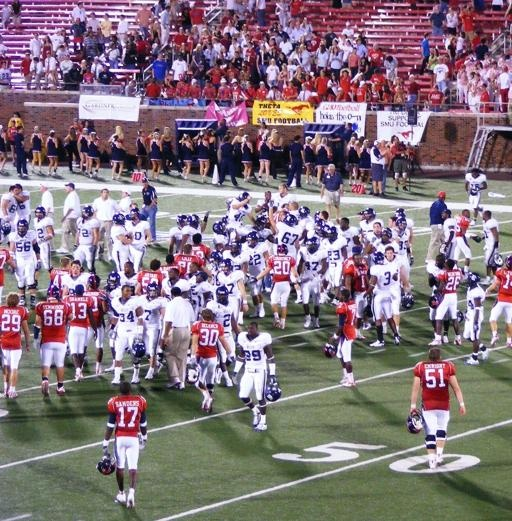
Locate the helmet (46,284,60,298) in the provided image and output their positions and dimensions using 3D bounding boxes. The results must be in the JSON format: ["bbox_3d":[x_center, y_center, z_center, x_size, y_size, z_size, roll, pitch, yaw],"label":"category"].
[{"bbox_3d":[-3.102,0.462,18.327,0.123,0.214,0.167,5,-1,-5],"label":"helmet"}]

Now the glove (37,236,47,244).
[{"bbox_3d":[-4.237,-0.393,23.726,0.226,0.152,0.229,1,13,3],"label":"glove"}]

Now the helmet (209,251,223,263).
[{"bbox_3d":[-0.671,-0.065,20.474,0.182,0.213,0.155,-19,-3,33],"label":"helmet"}]

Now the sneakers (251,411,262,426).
[{"bbox_3d":[0.016,2.246,17.074,0.072,0.251,0.092,4,2,31],"label":"sneakers"}]

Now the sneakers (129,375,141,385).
[{"bbox_3d":[-1.879,1.837,18.747,0.149,0.182,0.083,9,13,27],"label":"sneakers"}]

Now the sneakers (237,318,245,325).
[{"bbox_3d":[-0.277,1.099,21.675,0.064,0.136,0.119,0,-3,14],"label":"sneakers"}]

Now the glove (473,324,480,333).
[{"bbox_3d":[3.628,1.136,19.732,0.099,0.223,0.131,1,12,5],"label":"glove"}]

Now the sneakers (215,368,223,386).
[{"bbox_3d":[-0.581,1.850,18.905,0.089,0.324,0.132,0,34,-8],"label":"sneakers"}]

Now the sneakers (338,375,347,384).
[{"bbox_3d":[1.386,1.867,18.882,0.068,0.125,0.121,6,-6,-2],"label":"sneakers"}]

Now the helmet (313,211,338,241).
[{"bbox_3d":[1.280,-0.687,23.130,0.224,0.651,0.406,-14,-13,43],"label":"helmet"}]

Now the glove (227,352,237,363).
[{"bbox_3d":[-0.372,1.470,18.228,0.106,0.098,0.163,2,26,-4],"label":"glove"}]

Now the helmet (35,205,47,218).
[{"bbox_3d":[-4.285,-0.955,23.776,0.153,0.227,0.227,0,0,-3],"label":"helmet"}]

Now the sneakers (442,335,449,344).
[{"bbox_3d":[3.326,1.382,21.019,0.116,0.149,0.077,-2,7,-5],"label":"sneakers"}]

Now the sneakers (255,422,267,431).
[{"bbox_3d":[0.076,2.325,17.002,0.176,0.144,0.175,-1,13,-6],"label":"sneakers"}]

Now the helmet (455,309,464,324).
[{"bbox_3d":[3.578,0.962,20.903,0.131,0.211,0.186,5,-3,-5],"label":"helmet"}]

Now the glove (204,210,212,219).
[{"bbox_3d":[-1.127,-1.078,28.286,0.203,0.117,0.326,-4,-30,-12],"label":"glove"}]

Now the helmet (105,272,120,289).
[{"bbox_3d":[-2.270,0.308,19.044,0.164,0.268,0.252,7,16,-4],"label":"helmet"}]

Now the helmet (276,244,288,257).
[{"bbox_3d":[0.470,-0.193,21.691,0.182,0.206,0.290,-1,13,-5],"label":"helmet"}]

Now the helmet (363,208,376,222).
[{"bbox_3d":[2.267,-0.923,23.723,0.158,0.248,0.236,-5,-25,9],"label":"helmet"}]

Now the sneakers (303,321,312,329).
[{"bbox_3d":[0.946,1.172,21.971,0.112,0.180,0.349,-2,1,6],"label":"sneakers"}]

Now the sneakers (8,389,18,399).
[{"bbox_3d":[-3.640,1.975,17.940,0.072,0.178,0.210,-2,3,-39],"label":"sneakers"}]

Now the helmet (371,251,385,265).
[{"bbox_3d":[2.155,-0.039,21.050,0.186,0.213,0.274,1,13,5],"label":"helmet"}]

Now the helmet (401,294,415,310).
[{"bbox_3d":[2.736,0.697,21.665,0.222,0.331,0.326,-2,30,-1],"label":"helmet"}]

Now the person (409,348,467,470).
[{"bbox_3d":[2.482,1.803,16.308,0.708,1.596,1.783,2,13,9],"label":"person"}]

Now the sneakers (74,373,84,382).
[{"bbox_3d":[-2.782,1.836,18.901,0.098,0.163,0.221,9,-10,-24],"label":"sneakers"}]

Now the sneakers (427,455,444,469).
[{"bbox_3d":[2.368,2.620,15.706,0.114,0.187,0.215,-1,-3,6],"label":"sneakers"}]

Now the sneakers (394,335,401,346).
[{"bbox_3d":[2.464,1.367,20.857,0.100,0.224,0.242,1,13,7],"label":"sneakers"}]

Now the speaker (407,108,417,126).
[{"bbox_3d":[4.661,-4.244,35.644,0.306,0.598,0.553,1,13,5],"label":"speaker"}]

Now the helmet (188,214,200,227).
[{"bbox_3d":[-1.211,-0.753,22.962,0.159,0.247,0.222,12,28,23],"label":"helmet"}]

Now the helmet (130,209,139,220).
[{"bbox_3d":[-2.430,-0.906,23.918,0.197,0.236,0.224,2,13,8],"label":"helmet"}]

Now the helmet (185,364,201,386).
[{"bbox_3d":[-0.904,1.661,17.405,0.172,0.269,0.224,0,12,-3],"label":"helmet"}]

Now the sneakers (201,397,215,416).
[{"bbox_3d":[-0.698,2.058,17.226,0.096,0.159,0.386,3,51,5],"label":"sneakers"}]

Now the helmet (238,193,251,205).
[{"bbox_3d":[-0.244,-1.269,24.449,0.239,0.241,0.419,0,14,-3],"label":"helmet"}]

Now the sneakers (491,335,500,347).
[{"bbox_3d":[4.135,1.382,20.658,0.069,0.242,0.112,6,48,1],"label":"sneakers"}]

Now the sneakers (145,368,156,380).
[{"bbox_3d":[-1.683,1.796,19.100,0.049,0.153,0.161,16,41,-9],"label":"sneakers"}]

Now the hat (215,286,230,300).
[{"bbox_3d":[-0.519,0.474,18.323,0.165,0.203,0.260,-1,13,-6],"label":"hat"}]
